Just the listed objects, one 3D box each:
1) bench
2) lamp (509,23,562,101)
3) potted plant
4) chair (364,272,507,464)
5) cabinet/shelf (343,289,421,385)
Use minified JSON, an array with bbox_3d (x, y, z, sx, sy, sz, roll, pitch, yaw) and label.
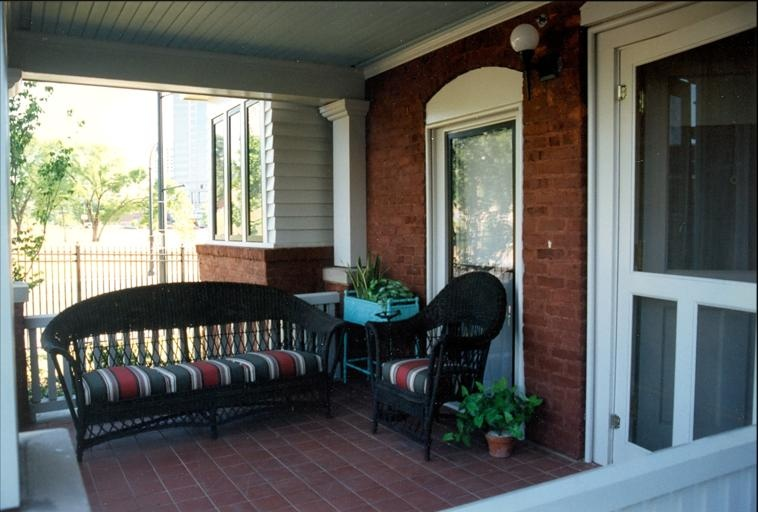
[{"bbox_3d":[-1.629,0.845,5.286,2.496,1.047,0.982,0,9,-36],"label":"bench"},{"bbox_3d":[1.154,-1.524,4.601,0.318,0.576,0.435,-4,9,-21],"label":"lamp"},{"bbox_3d":[0.865,1.233,4.821,0.683,0.418,0.656,1,-8,-12],"label":"potted plant"},{"bbox_3d":[0.473,0.851,4.931,1.178,1.316,1.202,-2,3,1],"label":"chair"},{"bbox_3d":[0.033,0.728,5.542,0.497,1.198,1.068,1,-1,-25],"label":"cabinet/shelf"}]
